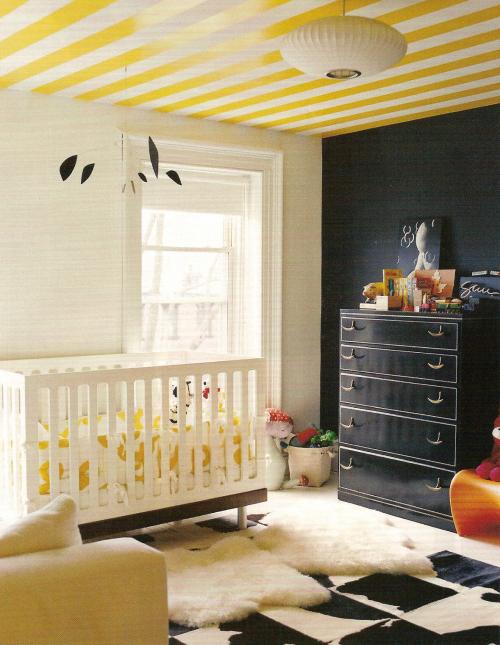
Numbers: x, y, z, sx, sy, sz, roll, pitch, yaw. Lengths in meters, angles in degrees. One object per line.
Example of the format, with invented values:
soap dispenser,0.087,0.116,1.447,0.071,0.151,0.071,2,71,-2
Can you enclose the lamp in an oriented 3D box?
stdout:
lamp,0.281,-0.798,1.765,0.362,0.150,0.338,-2,11,-25

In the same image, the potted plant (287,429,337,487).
potted plant,0.371,0.769,3.618,0.375,0.264,0.304,1,3,29
